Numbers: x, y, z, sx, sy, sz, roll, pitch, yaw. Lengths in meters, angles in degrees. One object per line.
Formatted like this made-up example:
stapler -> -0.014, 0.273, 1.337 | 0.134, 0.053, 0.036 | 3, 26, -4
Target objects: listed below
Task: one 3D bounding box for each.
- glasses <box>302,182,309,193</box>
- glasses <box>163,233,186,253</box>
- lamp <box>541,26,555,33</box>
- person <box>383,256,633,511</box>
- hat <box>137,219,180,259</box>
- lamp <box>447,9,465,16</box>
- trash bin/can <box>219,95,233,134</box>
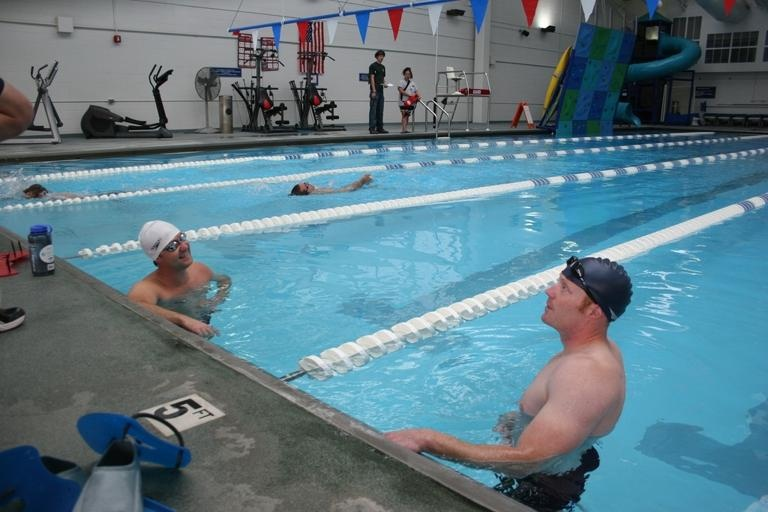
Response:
glasses -> -0.879, -0.798, 5.849 | 0.082, 0.083, 0.034 | 6, -19, -9
glasses -> -1.191, -0.079, 2.968 | 0.125, 0.033, 0.106 | 1, 32, 22
lamp -> 5.820, -8.101, 18.070 | 0.215, 0.242, 0.816 | 17, 25, 36
person -> 0.528, 0.445, 1.823 | 0.500, 0.792, 0.767 | 20, 29, 39
hat -> -1.292, -0.094, 2.990 | 0.281, 0.178, 0.199 | -1, 34, 29
lamp -> 2.185, -7.446, 15.470 | 0.200, 0.227, 0.706 | 19, 26, 39
trash bin/can -> -3.399, -3.166, 11.300 | 0.354, 0.763, 0.319 | -7, 22, -30
